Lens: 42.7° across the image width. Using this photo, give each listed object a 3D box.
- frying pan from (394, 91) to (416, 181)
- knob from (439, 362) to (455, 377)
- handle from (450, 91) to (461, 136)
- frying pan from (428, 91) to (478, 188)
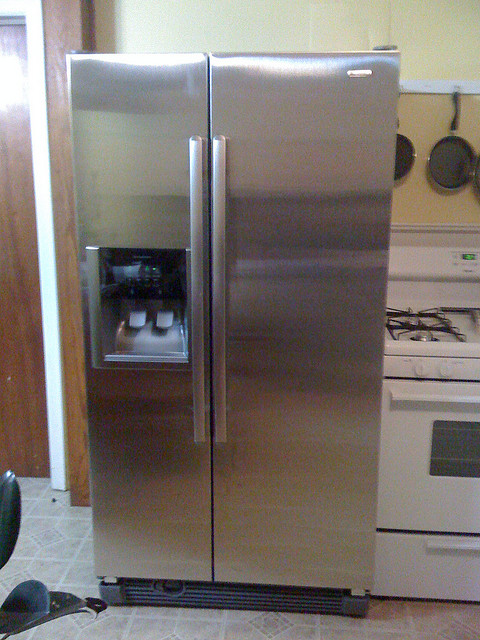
[{"bbox_3d":[0.629,-0.707,2.357,0.120,0.299,0.050,3,17,8],"label":"frying pan"},{"bbox_3d":[0.635,0.151,1.889,0.025,0.055,0.015,4,2,0],"label":"knob"},{"bbox_3d":[0.804,-0.777,2.309,0.027,0.165,0.037,0,17,6],"label":"handle"},{"bbox_3d":[0.806,-0.600,2.337,0.176,0.192,0.051,-2,10,-9],"label":"frying pan"}]
